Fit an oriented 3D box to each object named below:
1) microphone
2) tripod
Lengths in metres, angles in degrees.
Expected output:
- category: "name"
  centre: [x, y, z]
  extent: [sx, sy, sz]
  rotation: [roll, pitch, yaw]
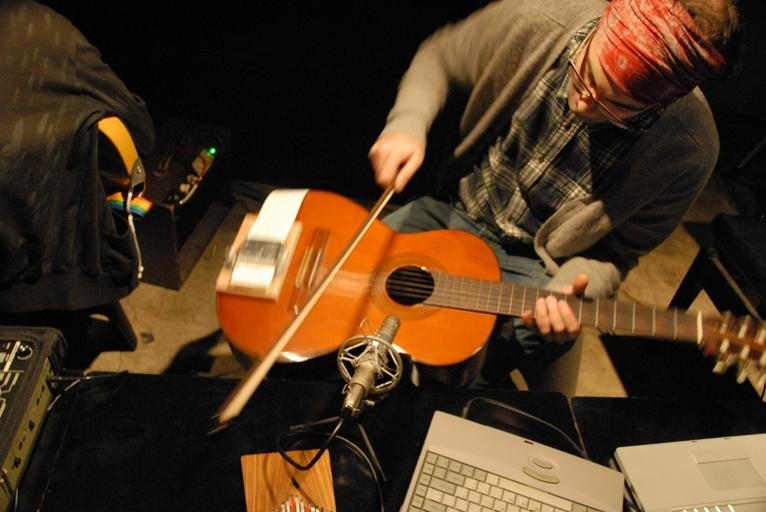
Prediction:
- category: "microphone"
  centre: [-0.029, 0.322, 2.152]
  extent: [0.157, 0.157, 0.333]
  rotation: [21, 40, 9]
- category: "tripod"
  centre: [-0.148, 0.552, 2.187]
  extent: [0.281, 0.270, 0.286]
  rotation: [16, 3, 44]
